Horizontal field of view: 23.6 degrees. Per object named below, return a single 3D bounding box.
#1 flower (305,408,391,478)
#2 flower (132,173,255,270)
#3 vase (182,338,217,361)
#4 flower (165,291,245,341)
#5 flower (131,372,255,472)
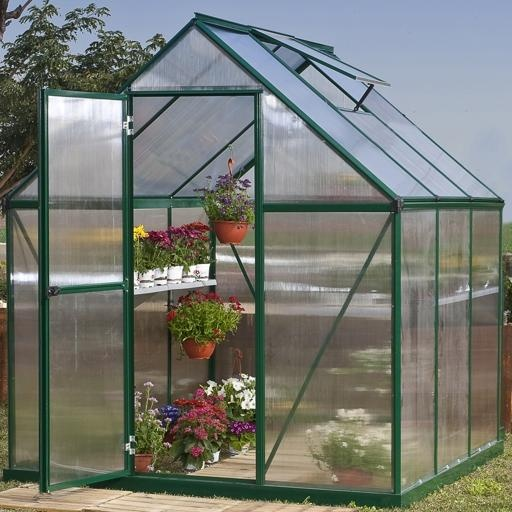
[{"bbox_3d":[0.806,1.658,10.660,0.473,0.714,0.209,-2,-8,8],"label":"flower"},{"bbox_3d":[-0.584,-0.296,12.062,0.912,0.809,0.975,-1,2,18],"label":"flower"},{"bbox_3d":[-0.563,0.914,12.023,0.319,0.209,0.188,2,4,-4],"label":"vase"},{"bbox_3d":[-0.537,0.610,12.203,0.520,0.451,0.558,2,-3,-10],"label":"flower"},{"bbox_3d":[-0.575,1.630,11.575,0.743,0.584,1.002,2,4,18],"label":"flower"}]
